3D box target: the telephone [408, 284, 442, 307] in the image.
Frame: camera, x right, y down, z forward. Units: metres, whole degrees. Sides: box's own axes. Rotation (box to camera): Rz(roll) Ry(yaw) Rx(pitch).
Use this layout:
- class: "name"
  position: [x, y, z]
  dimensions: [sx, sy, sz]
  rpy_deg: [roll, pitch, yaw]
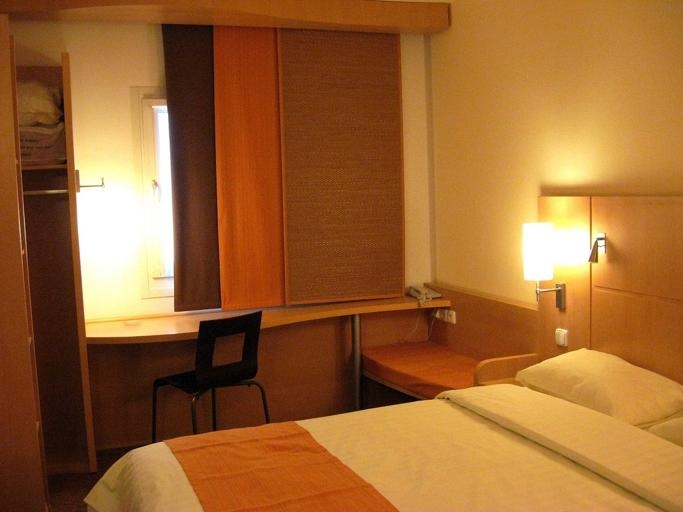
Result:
- class: "telephone"
  position: [0.607, 0.293, 4.371]
  dimensions: [0.136, 0.068, 0.177]
  rpy_deg: [-5, 15, -30]

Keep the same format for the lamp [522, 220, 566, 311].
- class: "lamp"
  position: [1.163, 0.072, 3.296]
  dimensions: [0.219, 0.527, 0.154]
  rpy_deg: [-4, 5, -14]
